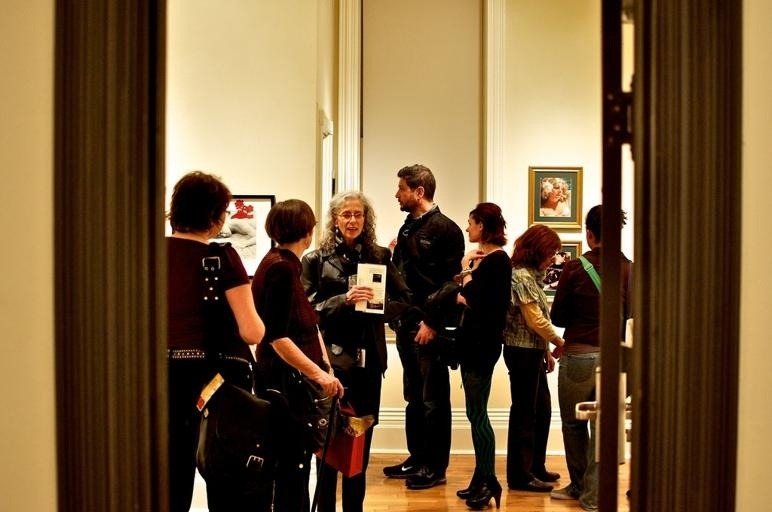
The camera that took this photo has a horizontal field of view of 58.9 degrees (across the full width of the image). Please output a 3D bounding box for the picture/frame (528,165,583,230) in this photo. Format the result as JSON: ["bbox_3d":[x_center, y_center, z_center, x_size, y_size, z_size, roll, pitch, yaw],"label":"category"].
[{"bbox_3d":[1.403,-0.496,5.645,0.555,0.667,0.049,0,0,1],"label":"picture/frame"}]

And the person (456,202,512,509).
[{"bbox_3d":[0.633,0.617,4.378,0.336,1.917,0.397,0,1,6],"label":"person"}]

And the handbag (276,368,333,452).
[{"bbox_3d":[-0.332,0.682,2.961,0.239,0.362,0.189,0,1,-11],"label":"handbag"}]

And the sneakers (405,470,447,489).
[{"bbox_3d":[0.285,1.522,4.666,0.243,0.114,0.110,3,-3,-14],"label":"sneakers"}]

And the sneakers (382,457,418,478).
[{"bbox_3d":[0.115,1.506,4.846,0.274,0.123,0.108,2,-3,-1],"label":"sneakers"}]

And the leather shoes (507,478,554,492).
[{"bbox_3d":[0.970,1.547,4.567,0.291,0.120,0.110,-2,-3,6],"label":"leather shoes"}]

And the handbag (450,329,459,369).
[{"bbox_3d":[0.433,0.612,4.479,0.071,0.210,0.148,6,4,13],"label":"handbag"}]

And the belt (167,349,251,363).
[{"bbox_3d":[-0.692,0.396,2.714,0.318,0.065,0.069,0,1,-16],"label":"belt"}]

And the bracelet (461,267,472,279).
[{"bbox_3d":[0.534,0.106,4.482,0.053,0.056,0.056,8,42,-17],"label":"bracelet"}]

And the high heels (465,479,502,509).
[{"bbox_3d":[0.622,1.487,4.285,0.231,0.173,0.181,0,0,0],"label":"high heels"}]

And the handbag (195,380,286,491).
[{"bbox_3d":[-0.573,0.703,2.660,0.385,0.522,0.274,11,-15,-31],"label":"handbag"}]
